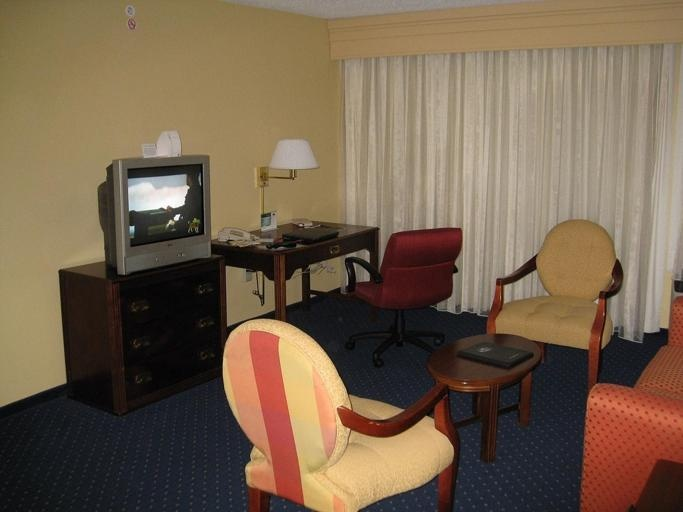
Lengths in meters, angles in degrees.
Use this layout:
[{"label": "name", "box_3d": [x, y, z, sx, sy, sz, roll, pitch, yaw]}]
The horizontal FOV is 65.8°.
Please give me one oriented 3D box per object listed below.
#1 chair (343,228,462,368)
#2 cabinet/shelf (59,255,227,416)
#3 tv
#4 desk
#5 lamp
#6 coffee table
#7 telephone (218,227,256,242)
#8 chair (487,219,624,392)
[{"label": "chair", "box_3d": [0.566, 0.298, 4.735, 0.853, 1.307, 0.863, -8, 20, -25]}, {"label": "cabinet/shelf", "box_3d": [-1.527, 0.546, 4.185, 0.776, 1.032, 1.041, 7, 12, 27]}, {"label": "tv", "box_3d": [-1.408, -0.394, 4.032, 0.462, 0.832, 0.711, 24, 26, 37]}, {"label": "desk", "box_3d": [-0.597, 0.382, 5.375, 1.179, 1.220, 1.859, -8, 5, -40]}, {"label": "lamp", "box_3d": [-0.528, -0.642, 5.068, 0.614, 0.930, 0.455, 6, 15, 20]}, {"label": "coffee table", "box_3d": [0.933, 0.897, 3.395, 0.531, 0.644, 0.777, 12, 24, 43]}, {"label": "telephone", "box_3d": [-0.935, -0.190, 4.689, 0.389, 0.175, 0.056, 10, 17, 20]}, {"label": "chair", "box_3d": [1.819, 0.406, 4.303, 1.012, 1.317, 0.926, -6, 9, -30]}]
